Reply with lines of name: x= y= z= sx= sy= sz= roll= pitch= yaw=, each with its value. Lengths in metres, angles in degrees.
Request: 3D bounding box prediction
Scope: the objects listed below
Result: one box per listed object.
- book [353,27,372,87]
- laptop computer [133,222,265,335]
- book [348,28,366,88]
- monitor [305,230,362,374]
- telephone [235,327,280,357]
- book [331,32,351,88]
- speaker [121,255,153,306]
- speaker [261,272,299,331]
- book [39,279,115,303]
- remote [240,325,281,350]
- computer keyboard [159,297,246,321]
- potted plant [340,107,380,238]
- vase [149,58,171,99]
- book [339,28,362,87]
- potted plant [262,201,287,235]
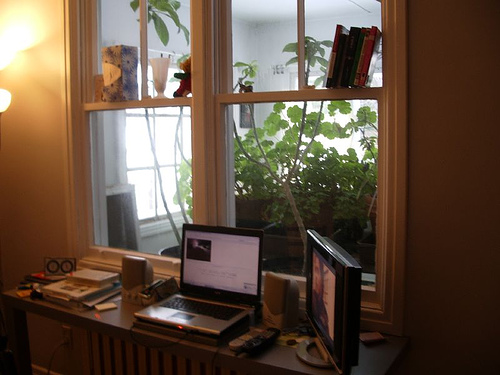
book: x=0.532 y=-0.625 z=2.026 sx=0.044 sy=0.208 sz=0.198 roll=11 pitch=9 yaw=10
laptop computer: x=-0.265 y=0.449 z=2.187 sx=0.527 sy=0.430 sz=0.468 roll=0 pitch=2 yaw=28
book: x=0.506 y=-0.625 z=2.037 sx=0.041 sy=0.194 sz=0.184 roll=10 pitch=4 yaw=10
monitor: x=0.354 y=0.522 z=1.853 sx=0.174 sy=0.502 sz=0.482 roll=1 pitch=11 yaw=-6
telephone: x=0.045 y=0.717 z=2.000 sx=0.075 sy=0.040 sz=0.269 roll=5 pitch=12 yaw=26
book: x=0.432 y=-0.619 z=2.052 sx=0.041 sy=0.197 sz=0.182 roll=7 pitch=7 yaw=6
speaker: x=-0.670 y=0.534 z=2.513 sx=0.143 sy=0.272 sz=0.141 roll=3 pitch=6 yaw=14
speaker: x=0.156 y=0.588 z=2.196 sx=0.139 sy=0.269 sz=0.169 roll=1 pitch=5 yaw=-41
book: x=-1.024 y=0.602 z=2.482 sx=0.175 sy=0.039 sz=0.183 roll=5 pitch=10 yaw=20
remote: x=0.048 y=0.713 z=2.010 sx=0.066 sy=0.035 sz=0.230 roll=3 pitch=10 yaw=28
computer keyboard: x=-0.259 y=0.635 z=2.243 sx=0.436 sy=0.019 sz=0.152 roll=3 pitch=13 yaw=24
potted plant: x=0.585 y=-0.089 z=2.267 sx=0.196 sy=0.660 sz=0.066 roll=7 pitch=14 yaw=44
vase: x=-0.548 y=-0.672 z=2.617 sx=0.127 sy=0.238 sz=0.055 roll=-5 pitch=10 yaw=-12
book: x=0.474 y=-0.626 z=2.035 sx=0.043 sy=0.204 sz=0.196 roll=8 pitch=11 yaw=5
potted plant: x=0.141 y=0.173 z=2.455 sx=0.156 sy=0.167 sz=0.073 roll=22 pitch=11 yaw=30
